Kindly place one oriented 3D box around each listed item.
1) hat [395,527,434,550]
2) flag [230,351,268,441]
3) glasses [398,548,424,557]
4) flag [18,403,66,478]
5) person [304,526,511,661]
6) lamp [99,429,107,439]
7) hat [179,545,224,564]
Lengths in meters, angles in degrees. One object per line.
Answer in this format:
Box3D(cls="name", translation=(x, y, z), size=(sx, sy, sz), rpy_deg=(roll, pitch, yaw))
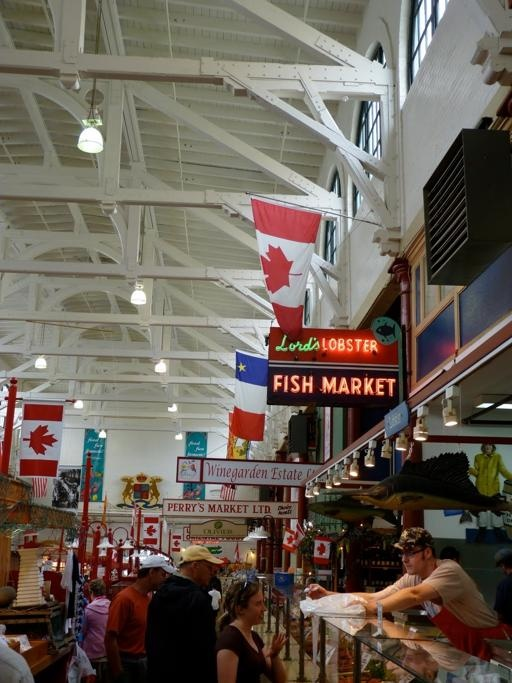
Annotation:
Box3D(cls="hat", translation=(0.850, 1.060, 3.418), size=(0.179, 0.090, 0.126), rpy_deg=(9, -18, -2))
Box3D(cls="flag", translation=(-0.143, 1.255, 14.456), size=(0.724, 2.037, 0.824), rpy_deg=(2, -21, -3))
Box3D(cls="glasses", translation=(0.841, 1.126, 3.393), size=(0.074, 0.021, 0.070), rpy_deg=(6, -24, -14))
Box3D(cls="flag", translation=(-5.045, 2.284, 14.934), size=(0.949, 1.819, 0.525), rpy_deg=(9, -22, -20))
Box3D(cls="person", translation=(0.828, 1.238, 3.230), size=(0.818, 0.578, 1.179), rpy_deg=(-7, -21, 19))
Box3D(cls="lamp", translation=(-10.573, 6.480, 43.971), size=(0.551, 0.569, 0.532), rpy_deg=(-1, -11, 0))
Box3D(cls="hat", translation=(-0.260, 1.052, 3.126), size=(0.211, 0.084, 0.126), rpy_deg=(8, -20, -5))
